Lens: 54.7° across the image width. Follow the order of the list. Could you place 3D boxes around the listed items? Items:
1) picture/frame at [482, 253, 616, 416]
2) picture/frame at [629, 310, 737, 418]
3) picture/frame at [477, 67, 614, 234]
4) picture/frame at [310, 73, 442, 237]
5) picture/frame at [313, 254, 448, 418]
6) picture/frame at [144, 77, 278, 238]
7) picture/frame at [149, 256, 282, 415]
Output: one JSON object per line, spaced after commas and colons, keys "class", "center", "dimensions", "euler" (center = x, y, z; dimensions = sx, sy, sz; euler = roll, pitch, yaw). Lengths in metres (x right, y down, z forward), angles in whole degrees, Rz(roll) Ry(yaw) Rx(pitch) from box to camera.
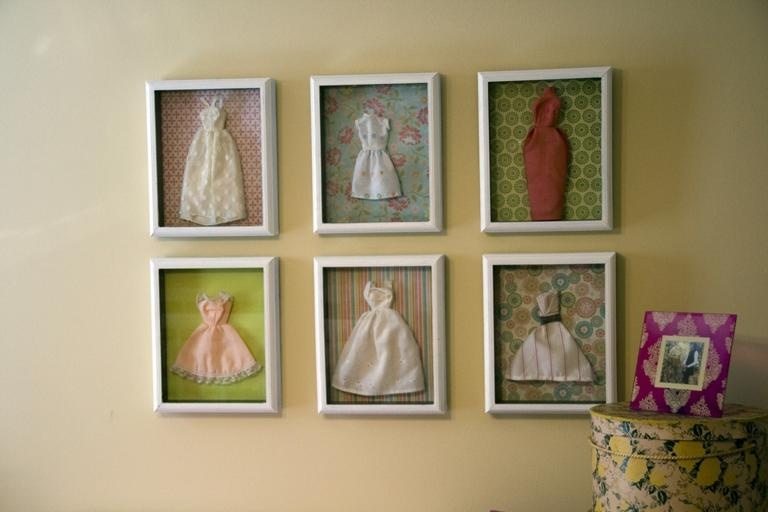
{"class": "picture/frame", "center": [0.607, 0.277, 2.668], "dimensions": [0.499, 0.679, 0.044], "euler": [0, -2, 3]}
{"class": "picture/frame", "center": [0.983, 0.362, 2.435], "dimensions": [0.258, 0.340, 0.022], "euler": [7, -11, 25]}
{"class": "picture/frame", "center": [0.593, -0.386, 2.665], "dimensions": [0.512, 0.697, 0.044], "euler": [0, 1, 2]}
{"class": "picture/frame", "center": [-0.016, -0.377, 2.691], "dimensions": [0.500, 0.660, 0.045], "euler": [1, -1, -2]}
{"class": "picture/frame", "center": [0.003, 0.291, 2.691], "dimensions": [0.502, 0.677, 0.049], "euler": [-1, -2, 3]}
{"class": "picture/frame", "center": [-0.617, -0.368, 2.713], "dimensions": [0.492, 0.696, 0.050], "euler": [1, 1, -3]}
{"class": "picture/frame", "center": [-0.602, 0.294, 2.720], "dimensions": [0.498, 0.678, 0.044], "euler": [0, 1, 4]}
